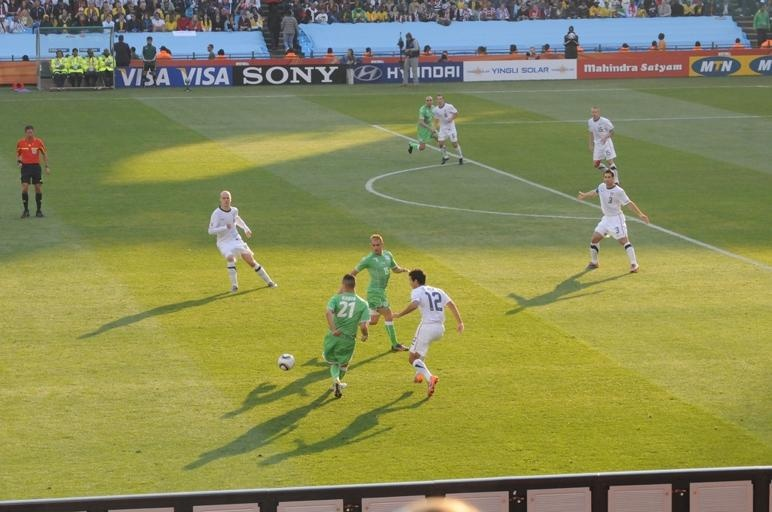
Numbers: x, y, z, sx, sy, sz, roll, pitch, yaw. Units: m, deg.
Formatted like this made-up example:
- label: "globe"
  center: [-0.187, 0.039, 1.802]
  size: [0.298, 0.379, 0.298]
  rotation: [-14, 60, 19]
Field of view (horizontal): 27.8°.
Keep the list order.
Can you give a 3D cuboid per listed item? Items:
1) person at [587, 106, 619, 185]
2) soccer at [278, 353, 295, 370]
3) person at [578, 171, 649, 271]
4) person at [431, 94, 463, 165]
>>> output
- label: "person"
  center: [7.874, -3.962, 56.941]
  size: [1.092, 2.735, 1.198]
  rotation: [-3, 5, 30]
- label: "soccer"
  center: [-2.797, 3.001, 43.438]
  size: [0.459, 0.533, 0.543]
  rotation: [-5, 11, -5]
- label: "person"
  center: [7.071, -1.076, 48.936]
  size: [1.611, 3.205, 1.080]
  rotation: [-3, 12, 8]
- label: "person"
  center: [2.352, -4.741, 59.581]
  size: [1.405, 2.545, 1.177]
  rotation: [-7, 2, -25]
